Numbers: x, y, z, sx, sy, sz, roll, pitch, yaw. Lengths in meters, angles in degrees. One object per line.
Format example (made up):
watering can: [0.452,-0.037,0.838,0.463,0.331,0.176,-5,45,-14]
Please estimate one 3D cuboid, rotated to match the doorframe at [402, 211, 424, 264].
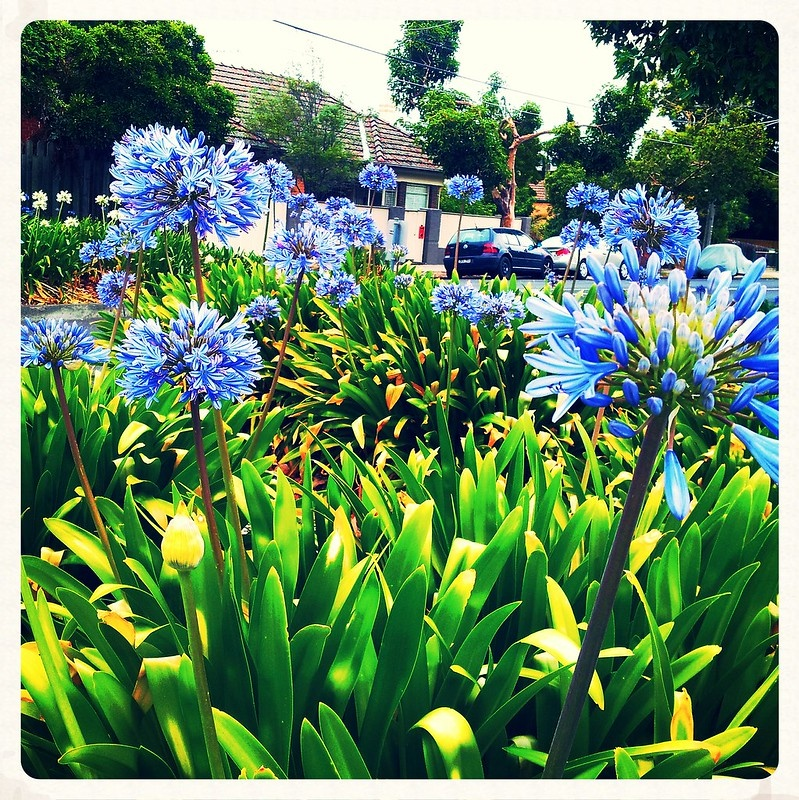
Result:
doorframe: [0.395,-4.940,22.205,0.698,1.649,0.143,5,-21,-5]
